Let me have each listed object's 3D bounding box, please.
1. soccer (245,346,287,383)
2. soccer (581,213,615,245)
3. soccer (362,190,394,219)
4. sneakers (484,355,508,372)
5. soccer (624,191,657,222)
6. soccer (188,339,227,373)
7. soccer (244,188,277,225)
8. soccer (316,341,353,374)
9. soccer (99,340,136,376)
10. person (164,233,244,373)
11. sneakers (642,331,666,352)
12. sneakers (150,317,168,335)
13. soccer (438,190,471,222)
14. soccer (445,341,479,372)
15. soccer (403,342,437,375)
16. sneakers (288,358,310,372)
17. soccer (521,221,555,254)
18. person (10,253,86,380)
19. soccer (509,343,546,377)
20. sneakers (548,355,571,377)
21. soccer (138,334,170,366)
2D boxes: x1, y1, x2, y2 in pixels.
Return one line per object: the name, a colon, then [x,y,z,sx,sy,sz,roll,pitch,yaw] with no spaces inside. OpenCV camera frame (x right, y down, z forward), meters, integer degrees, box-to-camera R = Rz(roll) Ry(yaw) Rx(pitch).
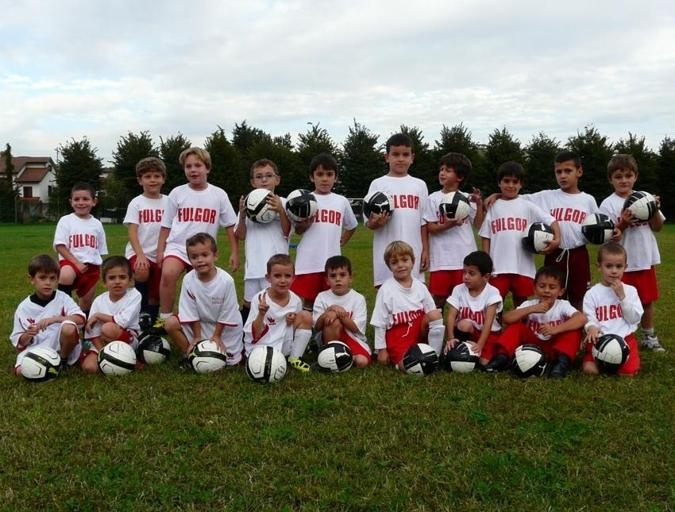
soccer: [-0.754,1.131,6.095,0.370,0.367,0.355,0,19,-3]
soccer: [3.175,-0.343,7.202,0.357,0.411,0.376,-2,-7,23]
soccer: [0.516,-0.646,7.436,0.374,0.285,0.318,-4,-16,45]
sneakers: [1.806,1.176,6.419,0.335,0.207,0.116,5,-9,-14]
soccer: [3.732,-0.614,7.153,0.397,0.311,0.232,-11,-17,-44]
soccer: [-1.437,1.107,6.447,0.331,0.327,0.317,1,5,-6]
soccer: [-0.960,-0.600,7.332,0.387,0.408,0.410,-4,-7,26]
soccer: [-0.045,1.107,6.436,0.336,0.256,0.290,0,2,9]
soccer: [-2.382,1.092,6.431,0.353,0.349,0.350,-2,36,0]
person: [-1.553,0.495,6.812,0.783,1.517,0.437,-1,6,8]
sneakers: [3.889,1.044,7.139,0.115,0.166,0.342,-6,-3,-6]
sneakers: [-2.272,0.894,7.455,0.196,0.247,0.576,1,-6,-6]
soccer: [1.448,-0.635,7.353,0.346,0.386,0.368,19,-18,2]
soccer: [1.373,1.104,6.434,0.310,0.310,0.299,0,1,3]
soccer: [0.899,1.119,6.314,0.316,0.315,0.315,3,8,5]
sneakers: [-0.434,1.216,6.578,0.267,0.118,0.098,12,19,33]
soccer: [2.406,-0.223,6.995,0.375,0.407,0.339,-1,6,-23]
person: [-3.241,0.624,6.533,0.753,1.272,0.578,-5,7,-29]
soccer: [2.036,1.078,6.278,0.308,0.319,0.323,-2,2,38]
sneakers: [2.394,1.168,6.296,0.157,0.173,0.387,3,8,36]
soccer: [-2.134,1.097,6.872,0.311,0.325,0.326,0,-12,26]
